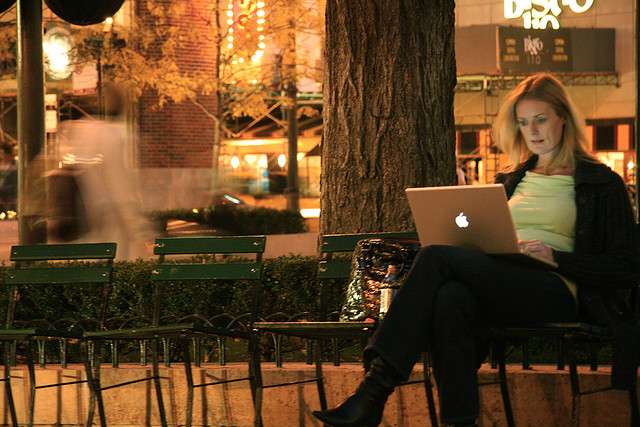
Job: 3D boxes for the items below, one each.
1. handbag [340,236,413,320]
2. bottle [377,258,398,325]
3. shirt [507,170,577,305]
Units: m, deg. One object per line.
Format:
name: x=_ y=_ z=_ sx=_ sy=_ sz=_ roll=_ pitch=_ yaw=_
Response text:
handbag: x=0.562 y=0.772 z=15.421 sx=0.703 sy=1.088 sz=0.763 roll=7 pitch=10 yaw=-10
bottle: x=0.807 y=0.853 z=14.994 sx=0.238 sy=0.600 sz=0.243 roll=0 pitch=0 yaw=0
shirt: x=2.604 y=0.284 z=15.119 sx=0.797 sy=1.483 sz=0.682 roll=-10 pitch=2 yaw=-29
